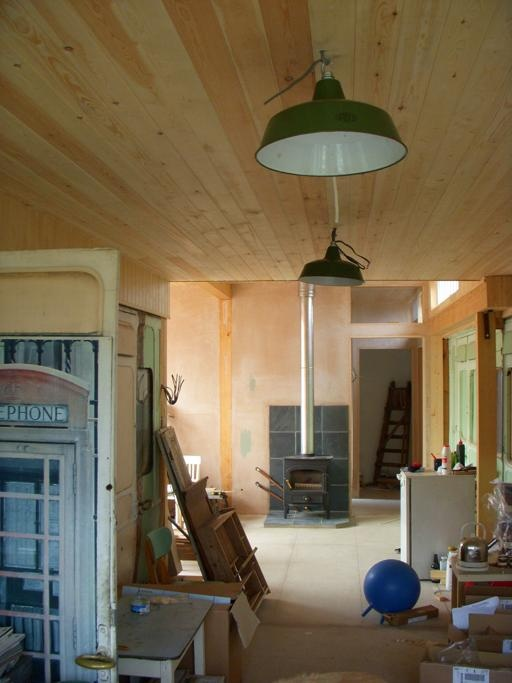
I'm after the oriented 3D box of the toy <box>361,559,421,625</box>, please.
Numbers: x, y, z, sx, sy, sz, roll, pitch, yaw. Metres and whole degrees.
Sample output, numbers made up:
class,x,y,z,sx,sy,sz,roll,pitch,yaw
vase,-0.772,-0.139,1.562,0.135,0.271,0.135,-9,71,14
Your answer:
class,x,y,z,sx,sy,sz,roll,pitch,yaw
toy,1.082,2.035,4.466,0.461,0.464,0.228,-2,-5,10

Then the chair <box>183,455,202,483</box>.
class,x,y,z,sx,sy,sz,roll,pitch,yaw
chair,-0.983,1.946,8.383,0.258,0.372,0.425,-1,-5,-7

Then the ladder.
class,x,y,z,sx,sy,sz,roll,pitch,yaw
ladder,2.774,1.828,11.174,0.861,2.026,0.459,-2,-5,1

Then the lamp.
class,x,y,z,sx,sy,sz,roll,pitch,yaw
lamp,0.299,-0.650,2.199,0.374,0.630,0.376,2,-16,-4
